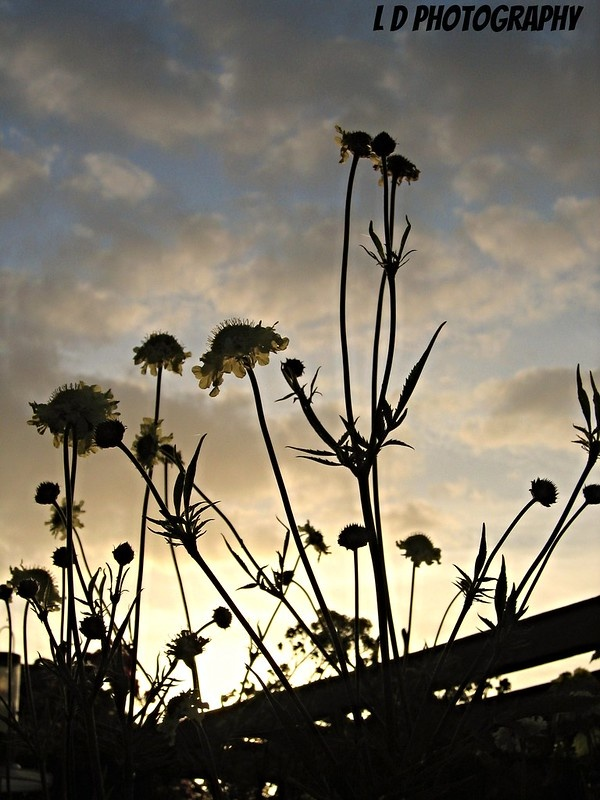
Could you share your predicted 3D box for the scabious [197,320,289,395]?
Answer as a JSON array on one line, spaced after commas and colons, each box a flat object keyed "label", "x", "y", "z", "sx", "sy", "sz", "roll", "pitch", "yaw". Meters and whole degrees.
[{"label": "scabious", "x": -0.143, "y": -0.105, "z": 3.537, "sx": 0.162, "sy": 0.198, "sz": 0.293, "roll": 3, "pitch": -12, "yaw": -27}]

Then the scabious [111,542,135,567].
[{"label": "scabious", "x": -0.417, "y": 0.373, "z": 3.344, "sx": 0.040, "sy": 0.058, "sz": 0.074, "roll": 0, "pitch": -11, "yaw": -13}]

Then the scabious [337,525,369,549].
[{"label": "scabious", "x": 0.115, "y": 0.297, "z": 3.037, "sx": 0.053, "sy": 0.059, "sz": 0.130, "roll": 1, "pitch": -11, "yaw": -17}]

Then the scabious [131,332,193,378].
[{"label": "scabious", "x": -0.418, "y": -0.133, "z": 4.439, "sx": 0.174, "sy": 0.142, "sz": 0.122, "roll": 6, "pitch": -14, "yaw": -35}]

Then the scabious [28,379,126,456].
[{"label": "scabious", "x": -0.502, "y": 0.046, "z": 3.213, "sx": 0.198, "sy": 0.153, "sz": 0.194, "roll": -2, "pitch": -7, "yaw": 40}]
